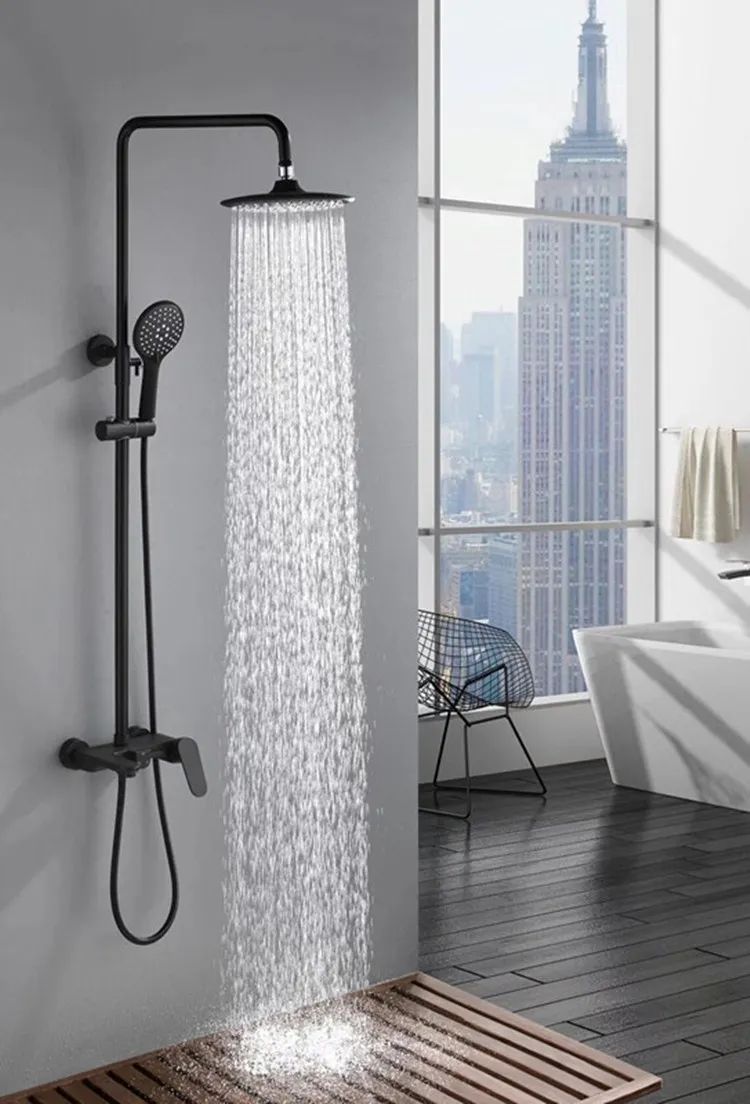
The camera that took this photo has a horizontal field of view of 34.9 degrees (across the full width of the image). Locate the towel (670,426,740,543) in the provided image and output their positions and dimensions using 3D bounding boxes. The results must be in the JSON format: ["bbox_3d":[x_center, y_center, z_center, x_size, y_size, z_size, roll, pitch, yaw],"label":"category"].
[{"bbox_3d":[1.445,-0.294,5.202,0.281,0.497,0.143,1,-2,16],"label":"towel"}]

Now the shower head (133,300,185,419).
[{"bbox_3d":[-0.374,-0.322,2.043,0.079,0.195,0.162,1,-1,-11],"label":"shower head"}]

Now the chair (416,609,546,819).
[{"bbox_3d":[0.386,0.559,4.791,0.624,0.960,0.740,-1,-1,21],"label":"chair"}]
